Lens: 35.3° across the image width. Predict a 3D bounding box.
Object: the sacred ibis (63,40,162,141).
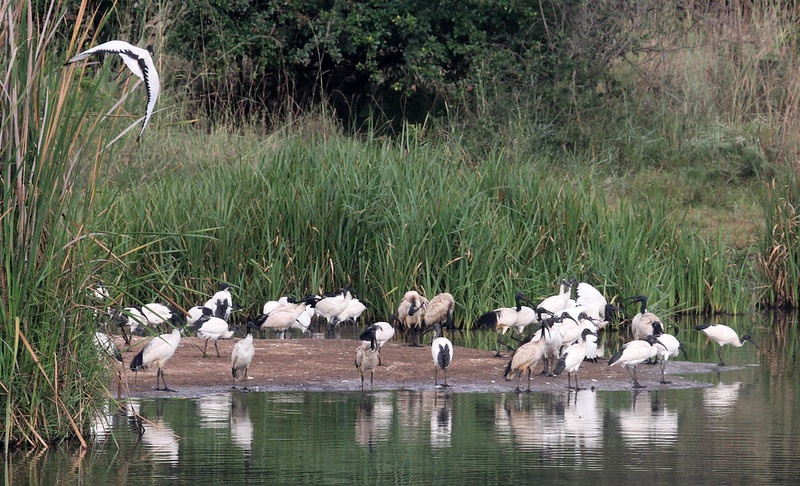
[{"bbox_3d":[-3.903,-2.187,17.791,1.058,1.386,0.771,1,5,19],"label":"sacred ibis"}]
